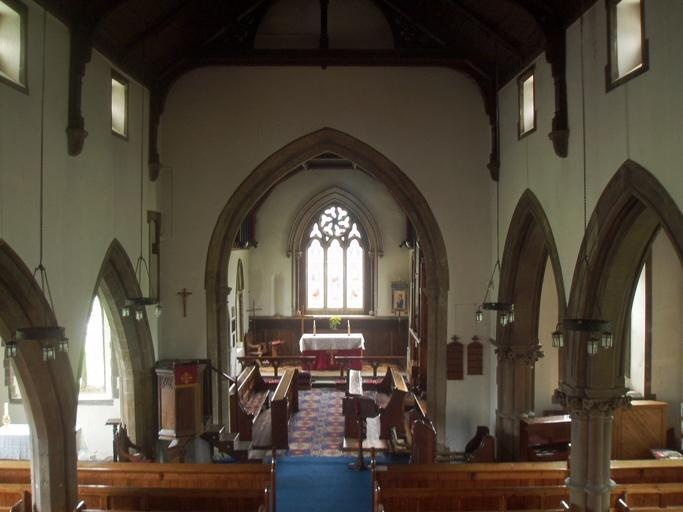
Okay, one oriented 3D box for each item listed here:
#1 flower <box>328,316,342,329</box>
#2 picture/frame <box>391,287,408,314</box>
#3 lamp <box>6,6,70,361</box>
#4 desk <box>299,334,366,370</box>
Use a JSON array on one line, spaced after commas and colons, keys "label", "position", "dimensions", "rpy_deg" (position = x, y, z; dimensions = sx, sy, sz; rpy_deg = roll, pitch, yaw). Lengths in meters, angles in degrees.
[{"label": "flower", "position": [-0.187, 2.097, 23.633], "dimensions": [0.332, 0.402, 0.339], "rpy_deg": [4, 0, 41]}, {"label": "picture/frame", "position": [1.895, 1.440, 24.114], "dimensions": [0.657, 1.136, 0.107], "rpy_deg": [1, -1, 12]}, {"label": "lamp", "position": [-5.007, -1.095, 12.036], "dimensions": [0.898, 5.739, 1.724], "rpy_deg": [-4, 7, -20]}, {"label": "desk", "position": [-0.261, 2.893, 22.558], "dimensions": [1.836, 1.203, 1.043], "rpy_deg": [-3, 7, -5]}]
